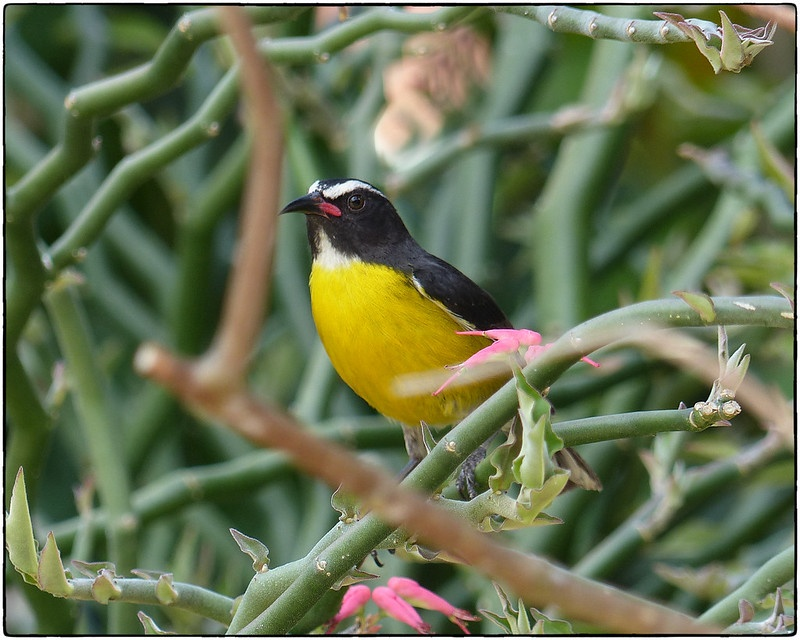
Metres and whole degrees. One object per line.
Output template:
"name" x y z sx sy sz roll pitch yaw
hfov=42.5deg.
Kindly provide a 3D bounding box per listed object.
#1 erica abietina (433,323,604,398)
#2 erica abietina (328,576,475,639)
"erica abietina" 0.272 0.106 2.611 0.314 0.099 0.176 -17 2 13
"erica abietina" 0.000 0.720 2.600 0.265 0.093 0.204 5 0 21
